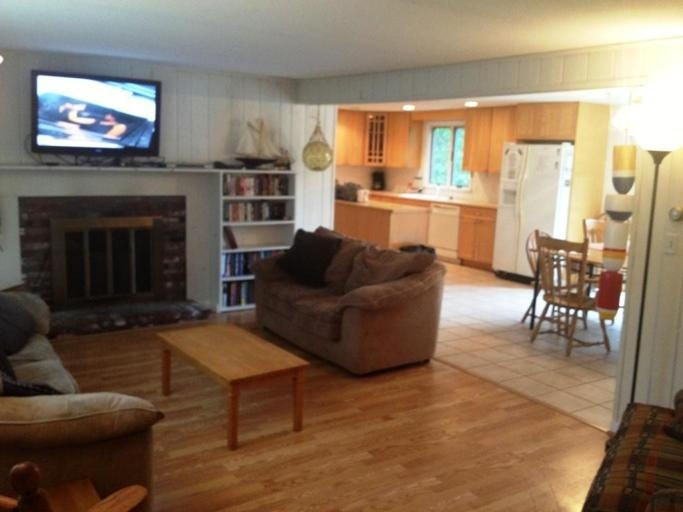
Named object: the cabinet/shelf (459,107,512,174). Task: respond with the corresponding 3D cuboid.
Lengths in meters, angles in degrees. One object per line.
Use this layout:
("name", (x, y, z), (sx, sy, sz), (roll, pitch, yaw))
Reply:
("cabinet/shelf", (2.637, -1.988, 9.069), (0.395, 1.074, 1.138), (-10, 18, -35))

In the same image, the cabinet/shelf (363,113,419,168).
("cabinet/shelf", (0.960, -2.376, 10.833), (0.951, 1.068, 0.406), (6, 16, 19))

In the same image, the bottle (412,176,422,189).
("bottle", (1.520, -1.473, 10.690), (0.188, 0.343, 0.185), (1, 22, 0))

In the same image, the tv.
("tv", (-2.579, -1.480, 5.485), (1.049, 0.701, 0.078), (-1, 14, -28))

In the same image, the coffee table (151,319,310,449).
("coffee table", (-0.760, 0.588, 3.907), (0.688, 0.577, 1.333), (-2, 11, -35))

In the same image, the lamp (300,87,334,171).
("lamp", (-0.294, -1.497, 6.781), (0.395, 0.834, 0.464), (3, 14, 3))

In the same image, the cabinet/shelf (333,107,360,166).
("cabinet/shelf", (0.170, -2.357, 10.546), (0.690, 1.046, 0.178), (-8, 18, -36))

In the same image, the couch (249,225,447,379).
("couch", (0.106, -0.074, 5.101), (1.174, 1.182, 2.150), (-1, 7, -34))
